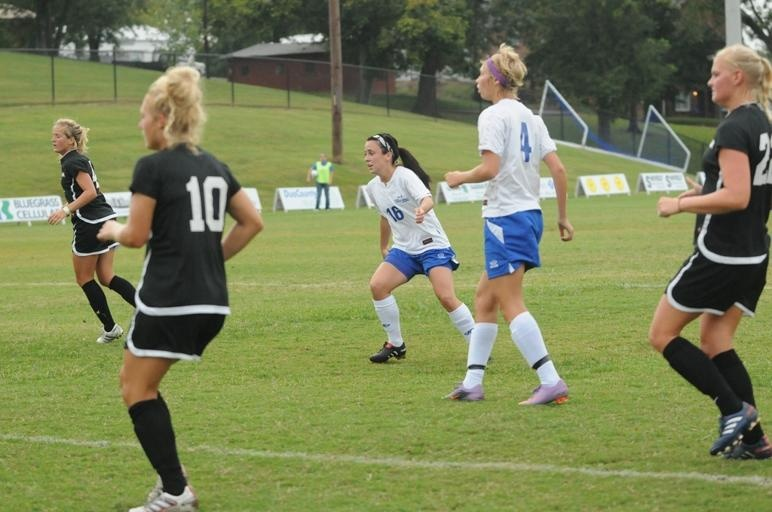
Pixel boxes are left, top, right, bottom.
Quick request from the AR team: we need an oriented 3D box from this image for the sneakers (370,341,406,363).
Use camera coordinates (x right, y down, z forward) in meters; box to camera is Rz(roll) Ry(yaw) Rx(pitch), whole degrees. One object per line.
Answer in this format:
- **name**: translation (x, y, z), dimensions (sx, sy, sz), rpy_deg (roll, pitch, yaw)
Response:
- **sneakers**: translation (0.043, 1.398, 17.804), dimensions (0.636, 0.268, 0.215), rpy_deg (-9, 21, -7)

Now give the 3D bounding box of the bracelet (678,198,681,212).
- **bracelet**: translation (3.584, -0.618, 14.958), dimensions (0.032, 0.137, 0.090), rpy_deg (3, 7, 12)
